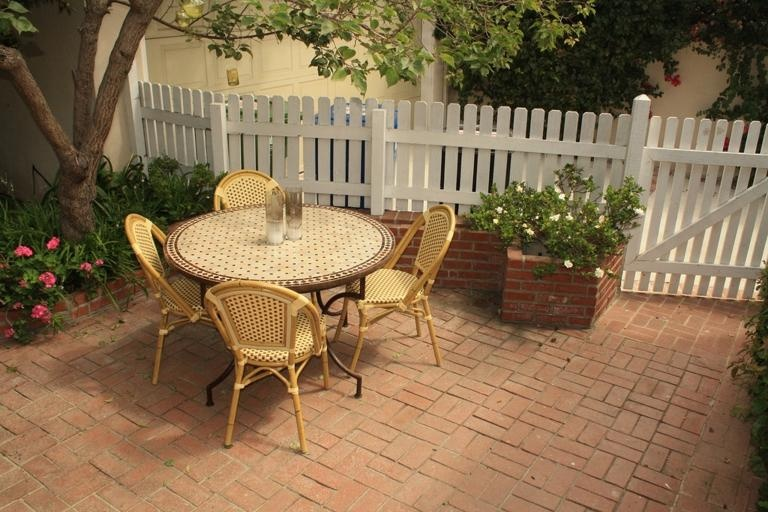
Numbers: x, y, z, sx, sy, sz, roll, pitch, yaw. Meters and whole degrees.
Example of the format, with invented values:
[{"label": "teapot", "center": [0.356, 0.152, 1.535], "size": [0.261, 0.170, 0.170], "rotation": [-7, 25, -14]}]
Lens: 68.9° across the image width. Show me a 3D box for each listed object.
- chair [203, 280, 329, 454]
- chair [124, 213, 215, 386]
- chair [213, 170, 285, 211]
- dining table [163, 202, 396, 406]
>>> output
[{"label": "chair", "center": [-1.024, 0.840, 4.850], "size": [0.933, 1.521, 0.686], "rotation": [4, 19, 3]}, {"label": "chair", "center": [-2.144, 0.501, 5.584], "size": [1.161, 1.620, 0.985], "rotation": [0, 40, -12]}, {"label": "chair", "center": [-1.662, -0.855, 6.731], "size": [0.657, 0.555, 0.744], "rotation": [-21, 8, -22]}, {"label": "dining table", "center": [-1.064, 0.353, 6.085], "size": [2.219, 1.406, 2.250], "rotation": [11, 21, 16]}]
